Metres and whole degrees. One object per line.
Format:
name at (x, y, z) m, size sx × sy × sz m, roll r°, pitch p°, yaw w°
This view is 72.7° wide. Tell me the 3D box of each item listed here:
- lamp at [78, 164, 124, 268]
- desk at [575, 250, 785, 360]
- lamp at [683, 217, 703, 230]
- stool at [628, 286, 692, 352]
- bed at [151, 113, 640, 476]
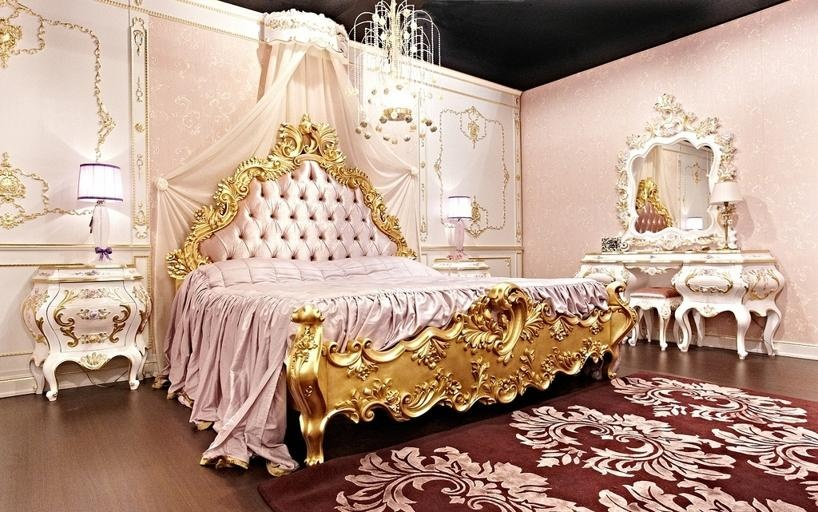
lamp at (-2.788, -0.398, 4.950) m, size 0.346 × 0.917 × 0.344 m, roll 1°, pitch -2°, yaw -30°
desk at (3.020, 0.471, 6.476) m, size 0.809 × 1.067 × 2.006 m, roll -2°, pitch 1°, yaw -34°
lamp at (3.245, -0.366, 6.302) m, size 0.133 × 0.127 × 0.134 m, roll 0°, pitch 0°, yaw -11°
stool at (2.776, 0.705, 6.446) m, size 0.652 × 0.834 × 0.646 m, roll -2°, pitch 4°, yaw -42°
bed at (-0.551, 0.469, 5.074) m, size 3.850 × 2.670 × 3.030 m, roll 0°, pitch -3°, yaw -37°
